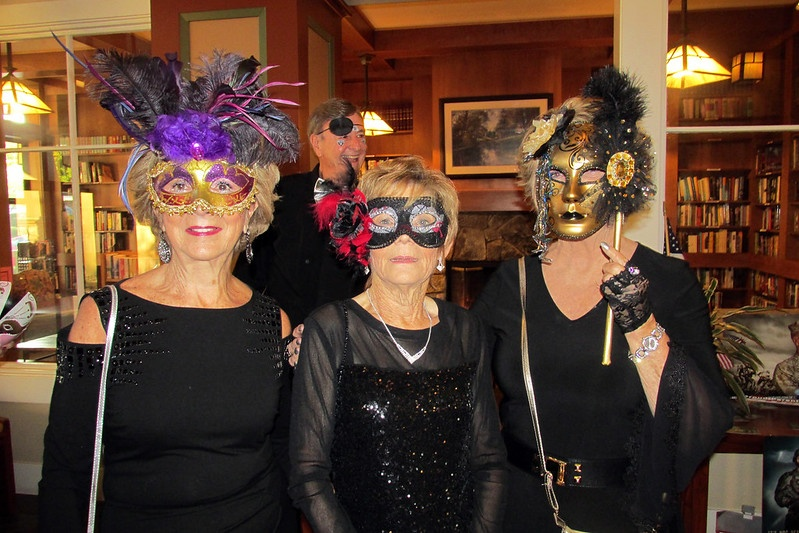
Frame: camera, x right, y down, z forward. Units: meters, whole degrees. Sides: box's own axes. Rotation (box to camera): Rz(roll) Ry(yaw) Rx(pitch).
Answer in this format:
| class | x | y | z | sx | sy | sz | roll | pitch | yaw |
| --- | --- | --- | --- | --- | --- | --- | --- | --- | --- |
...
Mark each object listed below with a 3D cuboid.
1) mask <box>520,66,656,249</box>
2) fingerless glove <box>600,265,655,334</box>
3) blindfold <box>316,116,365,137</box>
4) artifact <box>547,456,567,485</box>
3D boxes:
| class | x | y | z | sx | sy | sz | roll | pitch | yaw |
| --- | --- | --- | --- | --- | --- | --- | --- | --- | --- |
| mask | 0.891 | -0.503 | 3.102 | 0.308 | 0.806 | 0.655 | -21 | -33 | 28 |
| fingerless glove | 0.977 | 0.137 | 2.964 | 0.228 | 0.272 | 0.089 | -23 | 11 | -15 |
| blindfold | -0.366 | -0.846 | 4.132 | 0.177 | 0.062 | 0.160 | -10 | 9 | -29 |
| artifact | 0.701 | 0.905 | 3.020 | 0.088 | 0.110 | 0.052 | 1 | 2 | 24 |
